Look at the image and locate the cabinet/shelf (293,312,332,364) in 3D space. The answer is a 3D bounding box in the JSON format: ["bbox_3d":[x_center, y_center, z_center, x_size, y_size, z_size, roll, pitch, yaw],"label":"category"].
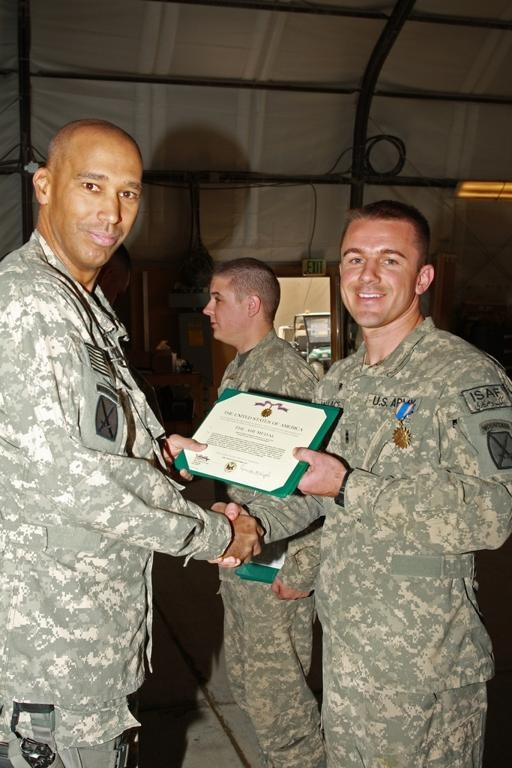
[{"bbox_3d":[1.152,-0.840,11.440,0.615,0.847,0.887,-8,19,13],"label":"cabinet/shelf"}]
